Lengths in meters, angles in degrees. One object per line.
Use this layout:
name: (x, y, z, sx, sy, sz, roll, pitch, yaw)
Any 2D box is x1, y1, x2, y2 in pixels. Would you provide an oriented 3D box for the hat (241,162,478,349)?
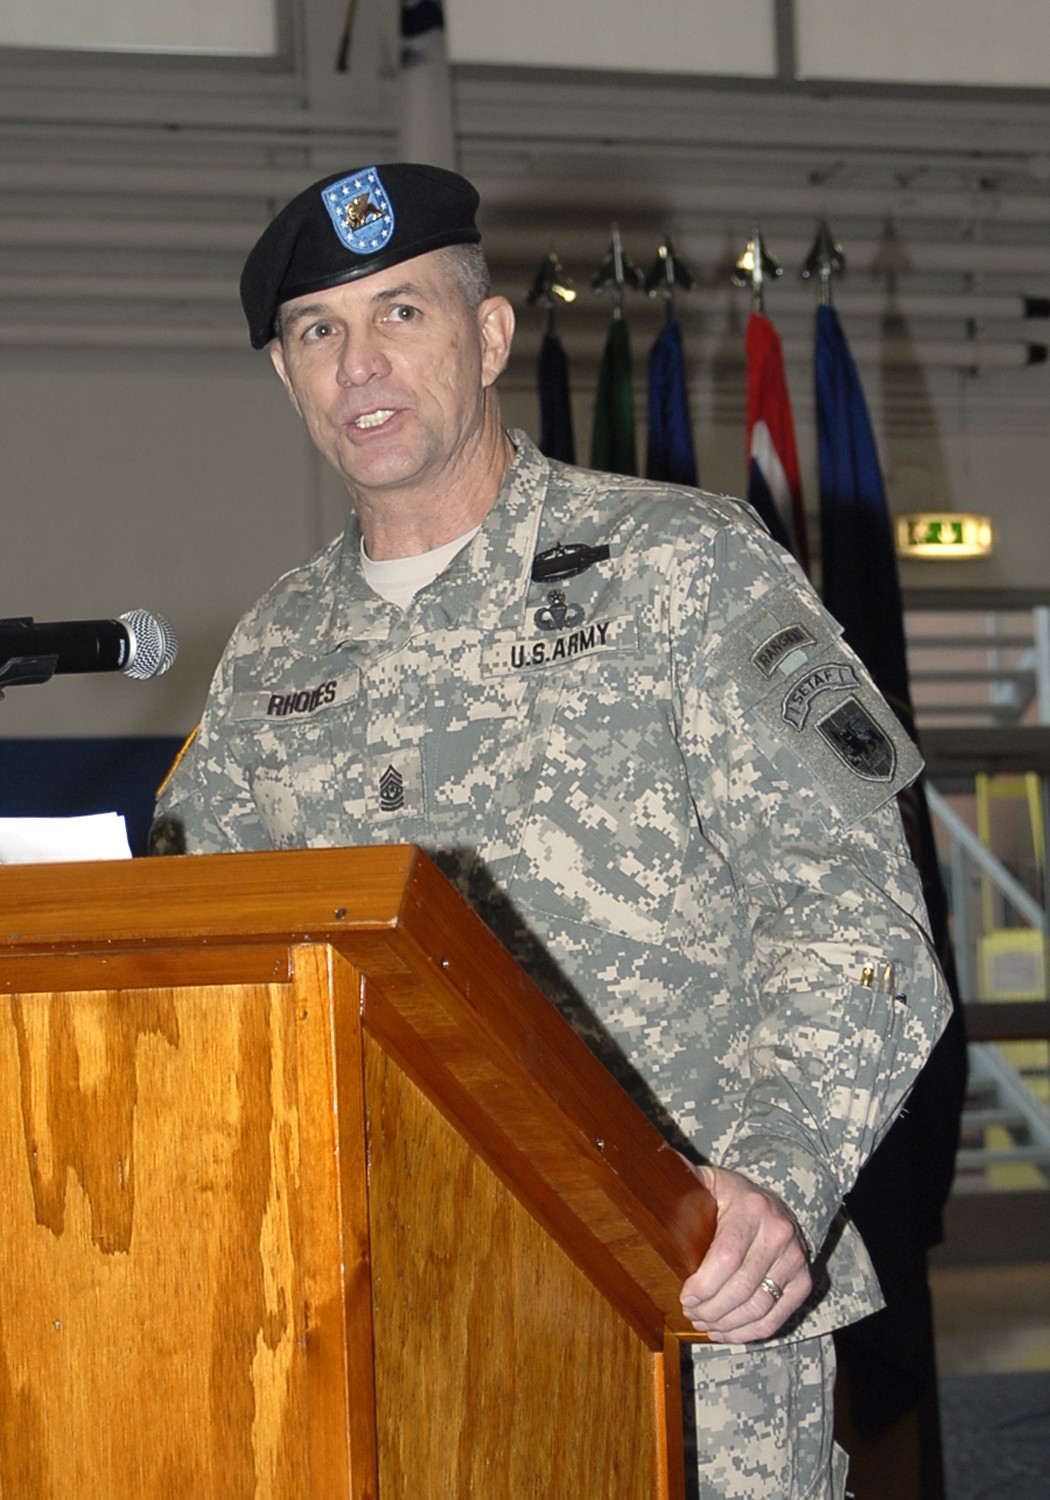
hat: (-0.106, -0.362, 1.382, 0.158, 0.069, 0.179, -22, 10, -1)

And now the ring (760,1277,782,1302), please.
ring: (0.106, 0.232, 0.844, 0.005, 0.009, 0.011, 3, 14, 31)
